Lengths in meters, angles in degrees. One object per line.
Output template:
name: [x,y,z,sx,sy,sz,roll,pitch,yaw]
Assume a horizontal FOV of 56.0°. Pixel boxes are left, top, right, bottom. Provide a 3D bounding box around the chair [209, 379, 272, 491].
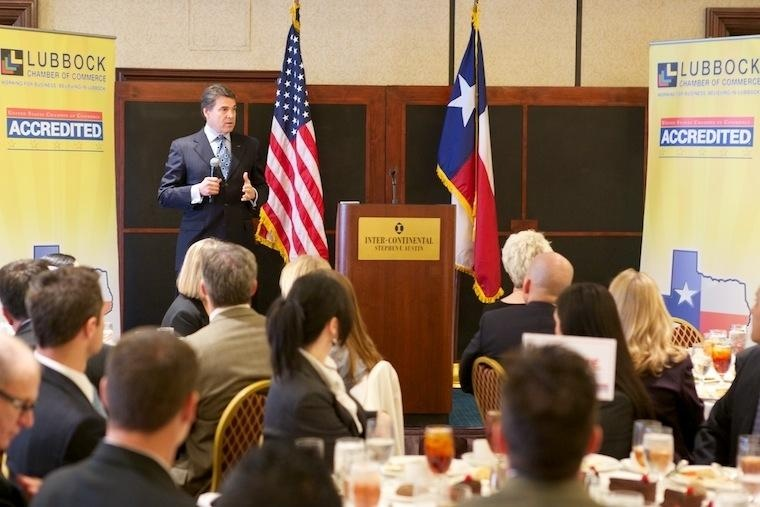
chair: [-0.685,0.901,3.464,0.280,0.566,0.236,0,3,-10]
